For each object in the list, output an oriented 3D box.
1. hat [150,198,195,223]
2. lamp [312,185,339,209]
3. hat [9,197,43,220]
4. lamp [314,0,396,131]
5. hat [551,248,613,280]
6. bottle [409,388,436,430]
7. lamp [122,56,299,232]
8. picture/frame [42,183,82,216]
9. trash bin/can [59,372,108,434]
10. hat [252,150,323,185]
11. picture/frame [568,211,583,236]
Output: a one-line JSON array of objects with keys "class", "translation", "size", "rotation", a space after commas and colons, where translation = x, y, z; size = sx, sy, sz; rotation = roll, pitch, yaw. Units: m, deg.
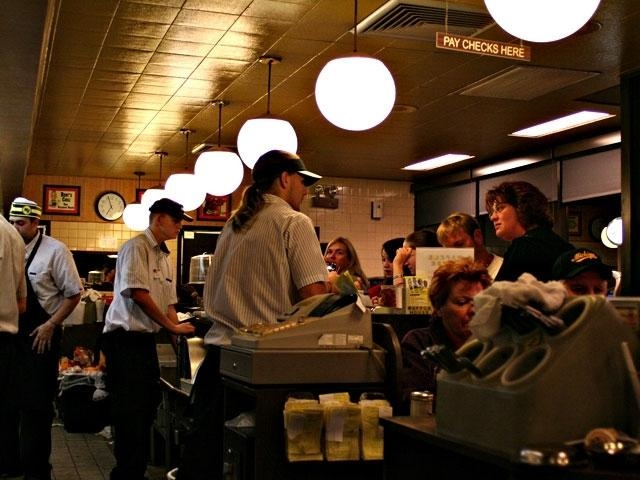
[{"class": "hat", "translation": [-1.129, -0.223, 4.553], "size": [0.285, 0.112, 0.192], "rotation": [14, -3, -15]}, {"class": "lamp", "translation": [0.079, -0.774, 10.875], "size": [0.530, 0.483, 0.187], "rotation": [0, 5, -14]}, {"class": "hat", "translation": [-2.160, -0.227, 4.416], "size": [0.211, 0.136, 0.159], "rotation": [7, -10, -41]}, {"class": "lamp", "translation": [0.175, -0.980, 3.866], "size": [0.508, 1.064, 0.508], "rotation": [2, -13, -5]}, {"class": "hat", "translation": [1.115, 0.094, 2.556], "size": [0.204, 0.141, 0.276], "rotation": [-7, -11, 13]}, {"class": "bottle", "translation": [0.351, 0.595, 2.052], "size": [0.084, 0.122, 0.084], "rotation": [11, -20, 4]}, {"class": "lamp", "translation": [-1.262, -0.730, 6.633], "size": [0.838, 1.397, 3.363], "rotation": [11, -18, -35]}, {"class": "picture/frame", "translation": [-4.863, -0.752, 11.147], "size": [0.616, 0.581, 0.060], "rotation": [2, 1, -17]}, {"class": "trash bin/can", "translation": [-2.131, 1.463, 5.465], "size": [0.433, 0.533, 0.406], "rotation": [-5, -16, -14]}, {"class": "hat", "translation": [-0.133, -0.350, 2.911], "size": [0.353, 0.172, 0.240], "rotation": [-2, -7, 1]}, {"class": "picture/frame", "translation": [3.724, -0.246, 8.704], "size": [0.363, 0.359, 0.038], "rotation": [2, -3, -35]}]
